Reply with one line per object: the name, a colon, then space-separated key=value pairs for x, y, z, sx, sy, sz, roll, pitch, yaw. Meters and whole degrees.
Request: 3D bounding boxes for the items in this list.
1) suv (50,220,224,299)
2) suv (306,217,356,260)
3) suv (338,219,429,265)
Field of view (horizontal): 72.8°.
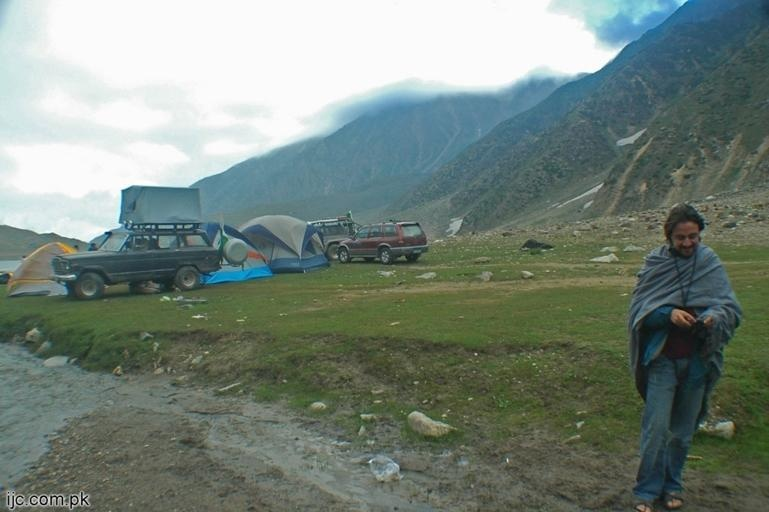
suv: x=-8.925 y=-0.205 z=21.222 sx=6.252 sy=2.537 sz=3.344 roll=-4 pitch=15 yaw=4
suv: x=-2.874 y=-1.475 z=32.876 sx=2.192 sy=1.971 sz=3.523 roll=-2 pitch=-2 yaw=-26
suv: x=0.042 y=-0.664 z=28.655 sx=6.057 sy=2.139 sz=3.303 roll=-1 pitch=-1 yaw=44
